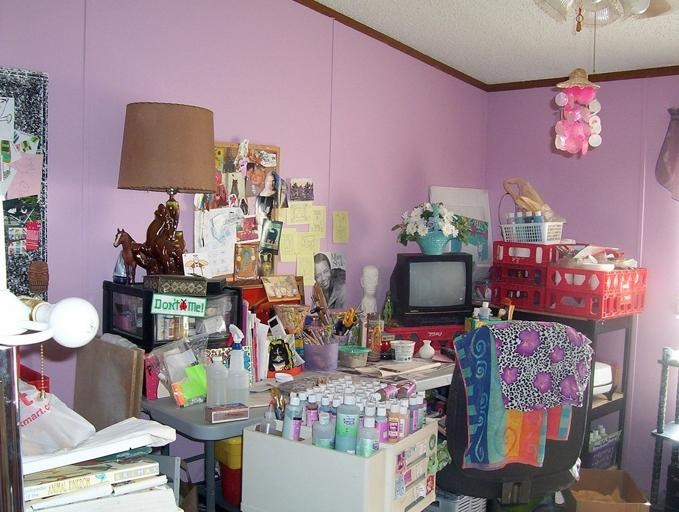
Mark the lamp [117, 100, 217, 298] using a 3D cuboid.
[{"bbox_3d":[-0.756,-0.287,2.448,0.365,0.739,0.334,2,4,25],"label":"lamp"}]

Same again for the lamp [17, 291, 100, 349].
[{"bbox_3d":[-0.601,0.137,1.172,0.180,0.100,0.087,1,3,4],"label":"lamp"}]

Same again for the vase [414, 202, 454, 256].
[{"bbox_3d":[0.594,-0.165,3.422,0.278,0.299,0.272,0,1,29],"label":"vase"}]

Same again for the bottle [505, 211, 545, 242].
[{"bbox_3d":[1.193,-0.190,3.621,0.189,0.151,0.198,-1,5,0],"label":"bottle"}]

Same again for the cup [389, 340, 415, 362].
[{"bbox_3d":[0.347,0.510,3.070,0.107,0.085,0.107,-1,2,0],"label":"cup"}]

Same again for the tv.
[{"bbox_3d":[0.559,0.190,3.595,0.557,0.535,0.399,-1,-1,-19],"label":"tv"}]

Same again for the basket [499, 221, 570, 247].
[{"bbox_3d":[1.245,-0.147,3.621,0.264,0.119,0.181,4,5,37],"label":"basket"}]

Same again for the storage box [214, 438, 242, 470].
[{"bbox_3d":[-0.534,0.918,2.656,0.121,0.110,0.172,1,-4,-24],"label":"storage box"}]

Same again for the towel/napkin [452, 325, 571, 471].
[{"bbox_3d":[0.711,0.573,2.302,0.568,0.645,0.092,-1,0,-4],"label":"towel/napkin"}]

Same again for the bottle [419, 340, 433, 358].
[{"bbox_3d":[0.493,0.529,3.193,0.083,0.090,0.086,0,-4,5],"label":"bottle"}]

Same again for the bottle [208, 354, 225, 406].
[{"bbox_3d":[-0.496,0.501,2.212,0.078,0.186,0.131,1,3,0],"label":"bottle"}]

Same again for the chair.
[{"bbox_3d":[0.705,0.622,2.624,0.738,0.879,0.710,0,2,-2],"label":"chair"}]
